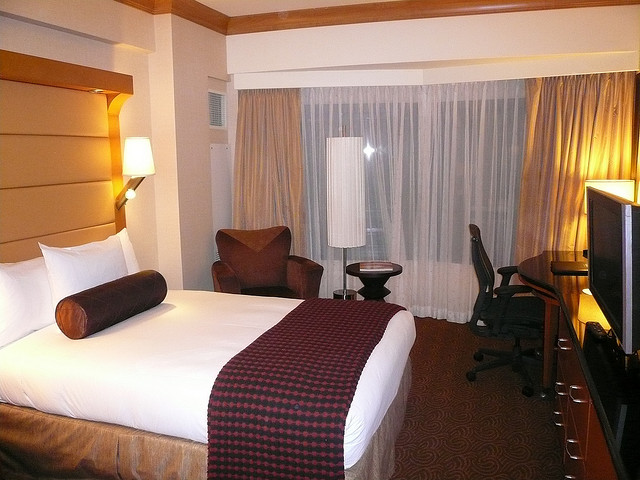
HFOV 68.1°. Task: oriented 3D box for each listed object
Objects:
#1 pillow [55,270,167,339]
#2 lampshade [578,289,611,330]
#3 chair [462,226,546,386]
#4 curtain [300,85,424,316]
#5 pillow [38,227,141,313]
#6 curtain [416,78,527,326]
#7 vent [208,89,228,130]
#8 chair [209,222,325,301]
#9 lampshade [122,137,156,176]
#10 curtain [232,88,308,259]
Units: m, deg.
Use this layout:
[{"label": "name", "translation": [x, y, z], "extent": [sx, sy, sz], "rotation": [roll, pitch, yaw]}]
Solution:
[{"label": "pillow", "translation": [-1.687, 0.500, 3.909], "extent": [0.371, 0.369, 0.915], "rotation": [9, 14, 19]}, {"label": "lampshade", "translation": [1.920, 0.464, 3.393], "extent": [0.160, 0.178, 0.156], "rotation": [-20, 12, 3]}, {"label": "chair", "translation": [1.886, 0.641, 4.590], "extent": [0.872, 1.411, 0.950], "rotation": [-1, 7, 8]}, {"label": "curtain", "translation": [0.328, -0.939, 6.641], "extent": [1.579, 3.089, 0.075], "rotation": [1, 53, -5]}, {"label": "pillow", "translation": [-1.928, 0.262, 3.896], "extent": [0.178, 0.455, 0.694], "rotation": [-29, -8, 18]}, {"label": "curtain", "translation": [1.829, -0.427, 5.888], "extent": [1.204, 2.941, 0.490], "rotation": [2, 15, 14]}, {"label": "vent", "translation": [-1.340, -1.669, 6.063], "extent": [0.055, 0.476, 0.536], "rotation": [-15, 26, -41]}, {"label": "chair", "translation": [-0.707, 0.252, 5.603], "extent": [0.965, 1.107, 0.932], "rotation": [1, -7, -18]}, {"label": "lampshade", "translation": [-1.755, -0.785, 4.414], "extent": [0.282, 0.308, 0.268], "rotation": [-18, 18, -40]}, {"label": "curtain", "translation": [-0.777, -1.061, 6.311], "extent": [0.952, 0.110, 2.408], "rotation": [-3, -33, -14]}]
